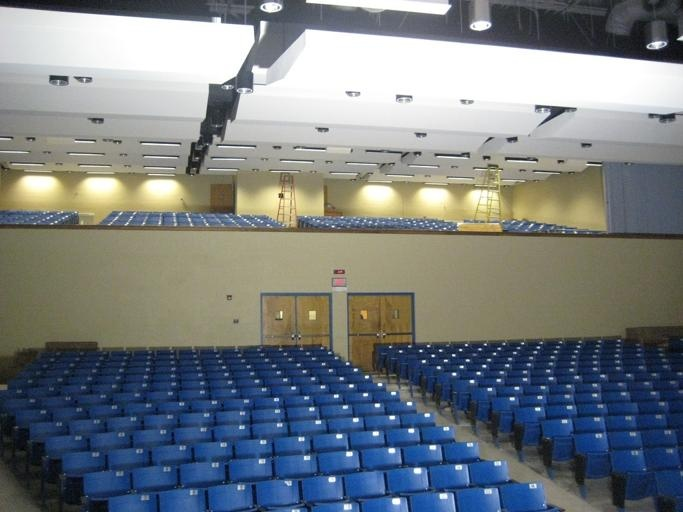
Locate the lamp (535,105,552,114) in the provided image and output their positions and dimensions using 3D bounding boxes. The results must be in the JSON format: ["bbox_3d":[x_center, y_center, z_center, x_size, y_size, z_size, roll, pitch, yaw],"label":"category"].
[{"bbox_3d":[5.245,-3.824,13.856,0.281,0.169,0.520,-1,-1,31],"label":"lamp"}]
